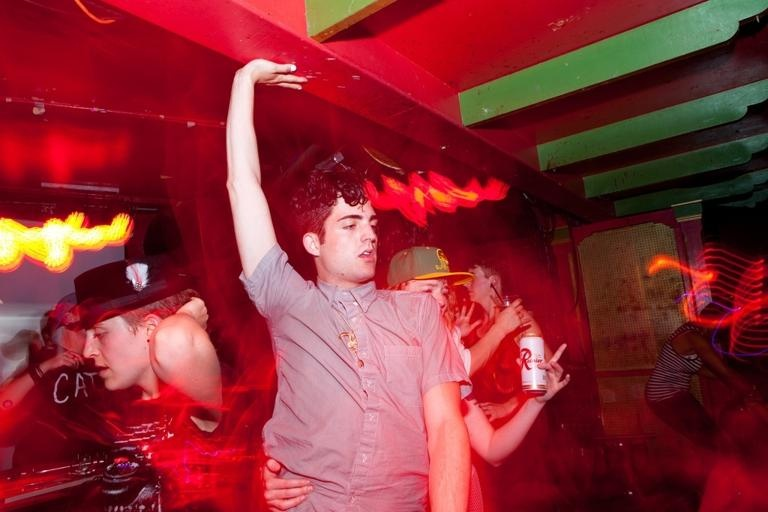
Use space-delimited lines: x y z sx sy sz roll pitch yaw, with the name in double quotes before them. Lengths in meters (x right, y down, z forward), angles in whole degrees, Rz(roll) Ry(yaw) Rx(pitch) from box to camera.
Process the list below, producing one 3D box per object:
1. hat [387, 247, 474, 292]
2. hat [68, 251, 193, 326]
"hat" 0.377 0.098 4.156 0.760 0.367 0.571 7 5 31
"hat" -2.468 0.329 4.823 0.750 0.312 0.875 -21 4 6
